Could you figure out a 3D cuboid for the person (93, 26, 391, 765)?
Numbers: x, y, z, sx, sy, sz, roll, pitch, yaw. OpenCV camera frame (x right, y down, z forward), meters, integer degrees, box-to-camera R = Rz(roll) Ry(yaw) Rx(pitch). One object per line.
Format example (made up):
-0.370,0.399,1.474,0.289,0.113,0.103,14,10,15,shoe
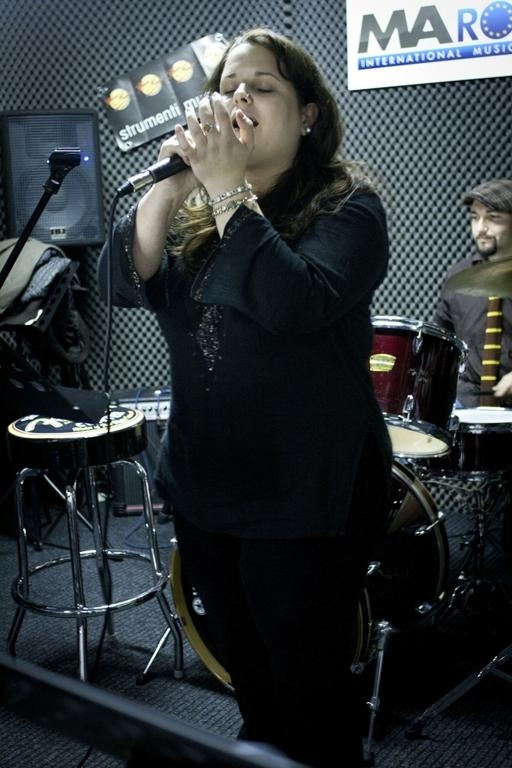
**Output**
0.008,0.045,0.971,0.446,0.951,0.306,-8,3,25,person

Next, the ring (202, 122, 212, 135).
-0.065,-0.331,0.812,0.013,0.016,0.006,0,0,9,ring
